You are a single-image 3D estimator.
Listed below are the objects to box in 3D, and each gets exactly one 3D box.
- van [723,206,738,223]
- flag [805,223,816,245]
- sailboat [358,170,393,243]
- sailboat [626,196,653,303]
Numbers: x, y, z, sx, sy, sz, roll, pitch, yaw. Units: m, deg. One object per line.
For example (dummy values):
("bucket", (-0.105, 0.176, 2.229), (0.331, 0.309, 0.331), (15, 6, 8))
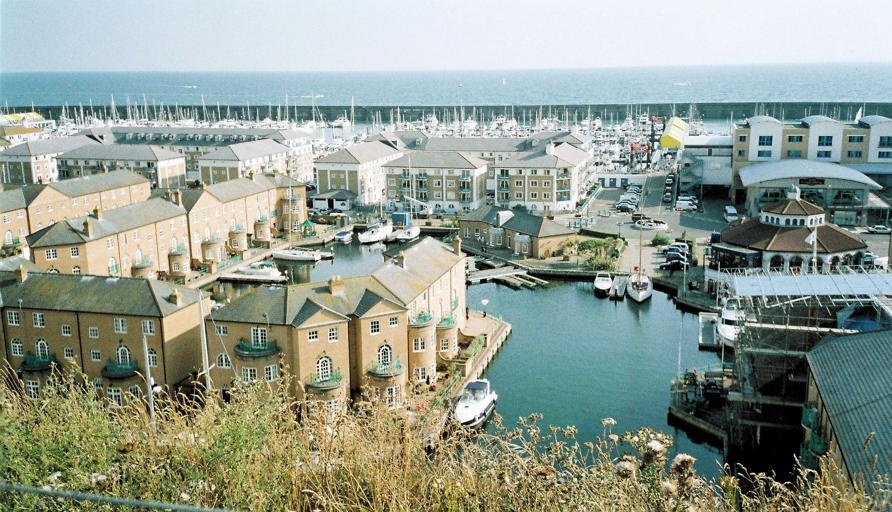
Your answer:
("van", (26.890, -3.781, 65.968), (1.347, 1.243, 3.217), (-2, 12, 15))
("flag", (24.568, -1.400, 47.185), (0.583, 1.091, 1.397), (5, 11, 29))
("sailboat", (-6.989, -3.618, 66.664), (2.687, 5.045, 3.410), (0, 0, 13))
("sailboat", (15.923, -0.249, 56.907), (1.865, 4.250, 18.302), (2, 10, 16))
